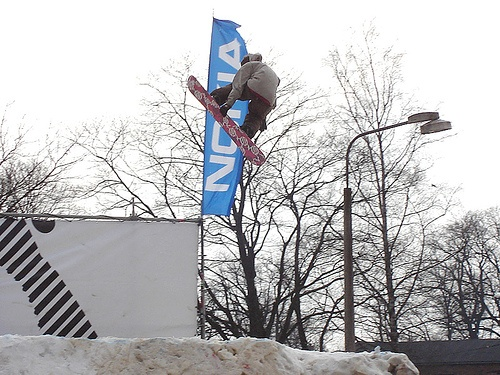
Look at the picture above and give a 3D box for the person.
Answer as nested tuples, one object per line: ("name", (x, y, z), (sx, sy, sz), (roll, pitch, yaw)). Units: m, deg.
("person", (0.124, -2.338, 26.344), (1.168, 1.744, 1.359), (-6, -32, 18))
